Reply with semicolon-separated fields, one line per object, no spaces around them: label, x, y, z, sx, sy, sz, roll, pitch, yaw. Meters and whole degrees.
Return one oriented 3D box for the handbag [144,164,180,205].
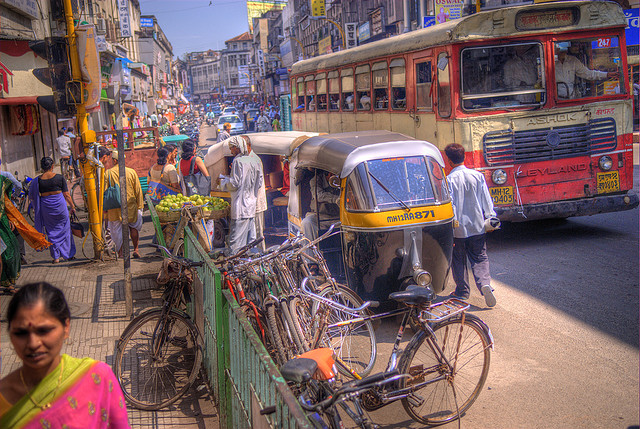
handbag;-3.307;-0.684;11.543;0.800;0.883;0.570;-3;1;10

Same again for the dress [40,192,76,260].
dress;-5.662;0.288;11.535;0.532;1.462;0.268;-10;9;-30

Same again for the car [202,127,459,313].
car;0.190;0.295;10.363;1.848;3.033;5.670;-2;1;-27

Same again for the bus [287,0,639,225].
bus;3.103;-2.395;13.186;3.506;4.787;7.853;-11;9;-35

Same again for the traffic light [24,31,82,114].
traffic light;-5.222;-2.712;10.579;0.729;1.512;0.374;-9;8;-23

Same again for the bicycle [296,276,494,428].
bicycle;1.072;1.536;6.416;2.390;1.582;1.227;6;0;-22

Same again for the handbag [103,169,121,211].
handbag;-4.369;-0.491;11.103;0.362;0.803;0.187;-8;8;-17

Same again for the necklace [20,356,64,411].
necklace;-1.993;1.219;3.924;0.196;0.387;0.091;-4;-12;-3

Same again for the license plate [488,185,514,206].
license plate;3.596;-0.387;10.652;0.390;0.314;0.060;-2;1;-10

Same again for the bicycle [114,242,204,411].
bicycle;-2.019;1.370;6.718;1.120;1.895;0.825;-8;8;-15

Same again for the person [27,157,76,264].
person;-5.716;-0.049;11.394;0.719;2.266;0.640;-10;9;-29
